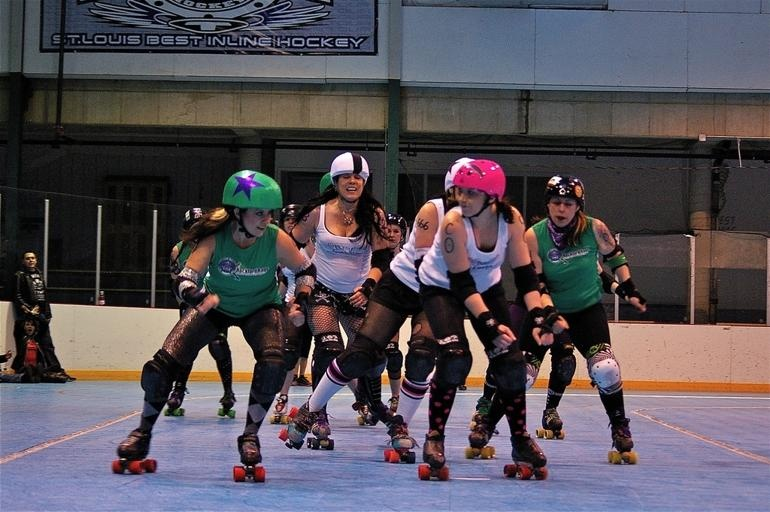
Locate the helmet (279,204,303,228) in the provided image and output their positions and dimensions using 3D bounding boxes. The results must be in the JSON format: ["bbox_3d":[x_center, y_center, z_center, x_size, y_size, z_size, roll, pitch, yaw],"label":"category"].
[{"bbox_3d":[-1.380,-0.620,16.144,0.302,0.388,0.388,-2,-11,-7],"label":"helmet"}]

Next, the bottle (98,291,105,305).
[{"bbox_3d":[-5.638,0.828,21.741,0.131,0.319,0.154,-1,4,-17],"label":"bottle"}]

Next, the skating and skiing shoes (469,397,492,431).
[{"bbox_3d":[1.519,2.264,16.305,0.195,0.273,0.633,10,30,0],"label":"skating and skiing shoes"}]

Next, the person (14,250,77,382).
[{"bbox_3d":[-6.722,1.056,21.588,0.806,3.024,1.068,-1,-2,34],"label":"person"}]

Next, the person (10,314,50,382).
[{"bbox_3d":[-6.973,1.802,21.450,0.536,1.415,0.554,5,-5,-5],"label":"person"}]

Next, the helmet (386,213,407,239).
[{"bbox_3d":[0.227,-0.517,17.563,0.296,0.389,0.386,0,-7,2],"label":"helmet"}]

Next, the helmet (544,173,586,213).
[{"bbox_3d":[2.650,-0.940,15.893,0.539,0.525,0.437,-4,-6,16],"label":"helmet"}]

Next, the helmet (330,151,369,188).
[{"bbox_3d":[-0.496,-1.297,15.904,0.421,0.434,0.495,3,5,-8],"label":"helmet"}]
